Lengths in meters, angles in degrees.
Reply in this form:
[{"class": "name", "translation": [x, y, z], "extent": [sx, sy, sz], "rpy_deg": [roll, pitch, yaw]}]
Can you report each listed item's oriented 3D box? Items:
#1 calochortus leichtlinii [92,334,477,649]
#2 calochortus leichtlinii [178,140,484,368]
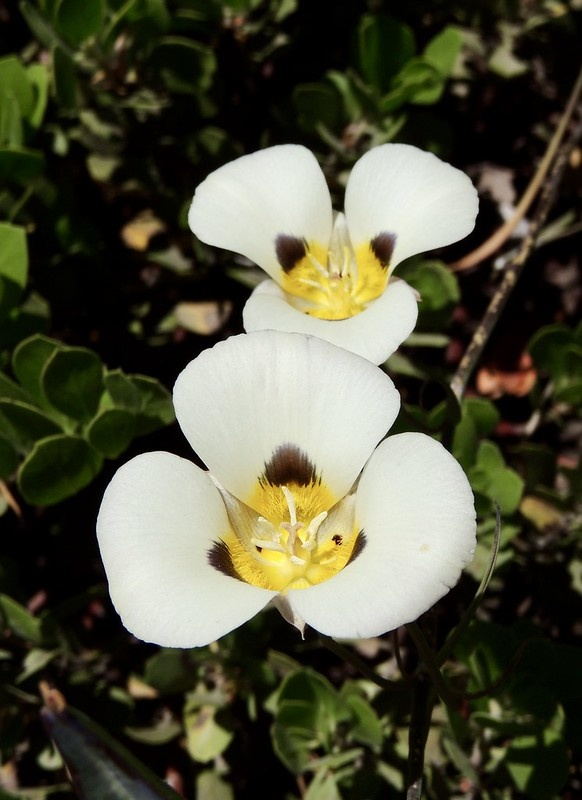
[{"class": "calochortus leichtlinii", "translation": [-0.022, 0.176, 1.269], "extent": [0.677, 0.618, 0.230], "rpy_deg": [-2, -36, -1]}, {"class": "calochortus leichtlinii", "translation": [0.003, -0.298, 1.648], "extent": [0.561, 0.217, 0.592], "rpy_deg": [-9, 22, -22]}]
